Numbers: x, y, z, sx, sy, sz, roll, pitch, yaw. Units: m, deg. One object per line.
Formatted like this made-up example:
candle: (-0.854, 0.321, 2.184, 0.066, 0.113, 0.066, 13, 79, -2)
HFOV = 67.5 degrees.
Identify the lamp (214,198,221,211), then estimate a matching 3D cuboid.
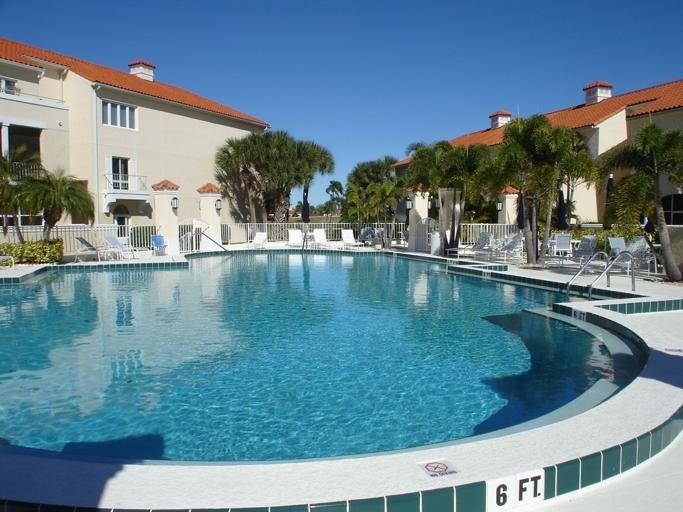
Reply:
lamp: (-6.156, -2.521, 25.186, 0.197, 0.559, 0.480, 0, 4, 13)

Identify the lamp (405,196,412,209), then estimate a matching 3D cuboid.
lamp: (3.043, -2.377, 22.881, 0.363, 0.591, 0.393, 1, 5, 12)
